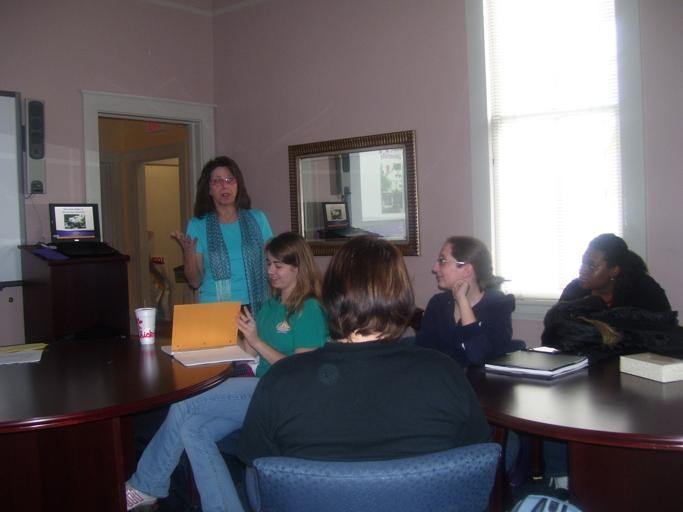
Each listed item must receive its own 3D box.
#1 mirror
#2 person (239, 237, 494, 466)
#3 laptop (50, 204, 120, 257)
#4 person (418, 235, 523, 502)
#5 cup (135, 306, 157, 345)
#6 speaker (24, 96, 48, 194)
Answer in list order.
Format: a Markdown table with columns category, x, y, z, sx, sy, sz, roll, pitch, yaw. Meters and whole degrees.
| category | x | y | z | sx | sy | sz | roll | pitch | yaw |
| --- | --- | --- | --- | --- | --- | --- | --- | --- | --- |
| mirror | 0.078 | -0.464 | 4.307 | 0.992 | 0.888 | 0.031 | 1 | 7 | 20 |
| person | 0.052 | 0.268 | 1.648 | 0.743 | 0.622 | 0.322 | -4 | 6 | -8 |
| laptop | -1.854 | -0.188 | 3.980 | 0.362 | 0.377 | 0.504 | -1 | 4 | -37 |
| person | 0.601 | 0.455 | 2.798 | 0.612 | 1.059 | 0.568 | -2 | 4 | -4 |
| cup | -0.971 | 0.349 | 2.754 | 0.117 | 0.172 | 0.121 | -5 | -7 | -1 |
| speaker | -2.275 | -0.798 | 4.096 | 0.172 | 0.692 | 0.083 | -7 | 7 | -31 |
